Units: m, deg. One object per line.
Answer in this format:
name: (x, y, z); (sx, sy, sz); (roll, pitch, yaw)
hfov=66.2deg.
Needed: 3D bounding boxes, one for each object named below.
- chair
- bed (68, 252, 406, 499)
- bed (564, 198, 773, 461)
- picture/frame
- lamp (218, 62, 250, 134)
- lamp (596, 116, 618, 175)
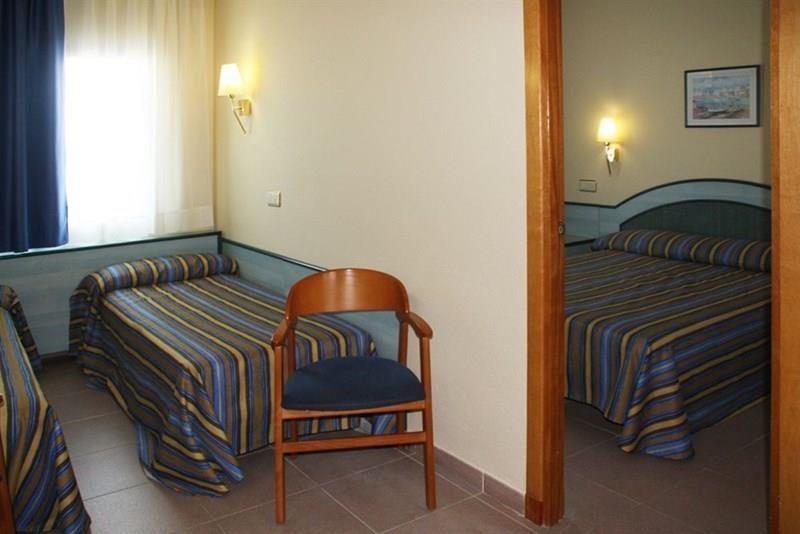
chair: (-0.304, 0.716, 3.762); (0.895, 1.203, 0.820); (-3, 14, -10)
bed: (-1.475, 0.589, 4.903); (1.776, 0.920, 2.564); (-5, 15, -42)
bed: (2.022, 0.122, 5.401); (3.137, 1.390, 1.935); (-14, 16, -42)
picture/frame: (2.941, -1.552, 5.516); (0.592, 0.532, 0.049); (4, 8, 40)
lamp: (-1.451, -1.462, 5.313); (0.249, 0.581, 0.354); (-9, 15, -25)
lamp: (2.141, -1.241, 6.302); (0.210, 0.591, 0.212); (4, 21, 22)
